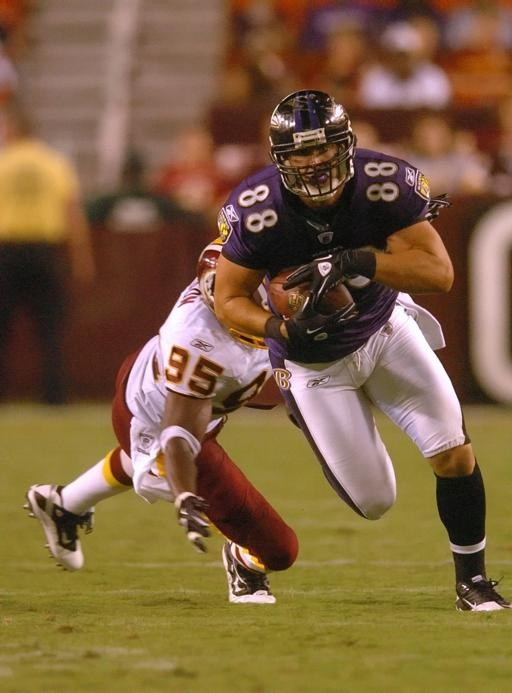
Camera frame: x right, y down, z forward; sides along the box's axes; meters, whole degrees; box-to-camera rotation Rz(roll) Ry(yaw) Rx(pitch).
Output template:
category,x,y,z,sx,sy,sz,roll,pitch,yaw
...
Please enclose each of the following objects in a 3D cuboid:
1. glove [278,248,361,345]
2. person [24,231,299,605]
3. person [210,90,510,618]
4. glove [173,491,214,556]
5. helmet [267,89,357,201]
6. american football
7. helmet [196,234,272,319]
category,x,y,z,sx,sy,sz,roll,pitch,yaw
glove,0.122,-0.127,1.927,0.175,0.204,0.235,-9,28,-1
person,-0.398,0.261,3.065,0.942,1.180,0.994,18,40,10
person,0.314,0.098,2.041,0.540,1.412,0.712,-29,36,-28
glove,-0.126,0.358,1.710,0.079,0.043,0.161,17,5,-2
helmet,0.147,-0.448,1.909,0.244,0.224,0.253,-6,45,9
american football,0.131,-0.126,1.979,0.196,0.087,0.115,-40,-9,8
helmet,-0.115,-0.194,2.179,0.204,0.165,0.204,-48,16,6
